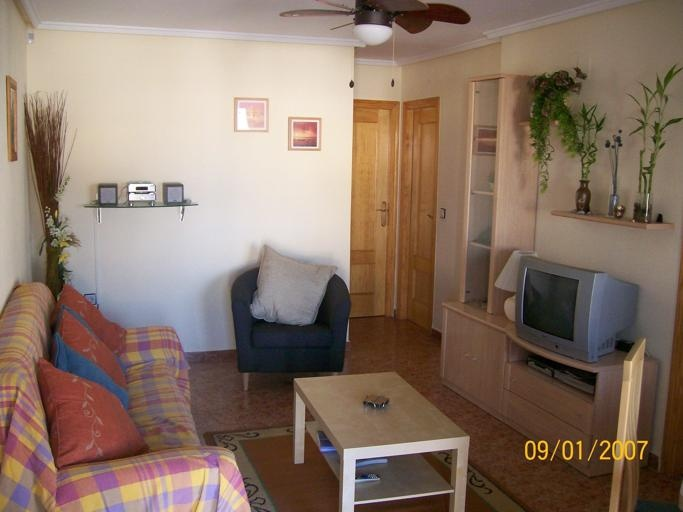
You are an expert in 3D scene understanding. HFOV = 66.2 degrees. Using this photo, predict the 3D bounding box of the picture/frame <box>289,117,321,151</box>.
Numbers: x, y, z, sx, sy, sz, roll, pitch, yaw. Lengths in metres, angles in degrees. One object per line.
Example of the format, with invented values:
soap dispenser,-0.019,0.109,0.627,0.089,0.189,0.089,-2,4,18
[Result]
picture/frame,-0.360,-1.156,4.932,0.306,0.306,0.020,-3,14,-9

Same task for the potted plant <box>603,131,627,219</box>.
potted plant,1.834,-0.557,3.516,0.138,0.574,0.367,5,13,26

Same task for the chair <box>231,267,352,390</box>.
chair,-0.452,0.590,4.587,0.977,0.817,0.813,1,11,-8

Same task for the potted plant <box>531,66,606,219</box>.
potted plant,1.612,-0.852,3.852,0.586,1.034,0.429,10,16,43

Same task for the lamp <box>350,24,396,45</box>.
lamp,0.173,-1.267,3.009,0.201,0.087,0.200,-3,11,-11

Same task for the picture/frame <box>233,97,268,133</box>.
picture/frame,-0.855,-1.300,4.798,0.324,0.326,0.025,1,9,-16

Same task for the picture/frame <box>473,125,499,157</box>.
picture/frame,1.154,-0.926,4.212,0.054,0.215,0.229,-5,11,-41

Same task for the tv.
tv,1.518,0.325,3.577,0.617,0.661,0.761,-6,13,-23
